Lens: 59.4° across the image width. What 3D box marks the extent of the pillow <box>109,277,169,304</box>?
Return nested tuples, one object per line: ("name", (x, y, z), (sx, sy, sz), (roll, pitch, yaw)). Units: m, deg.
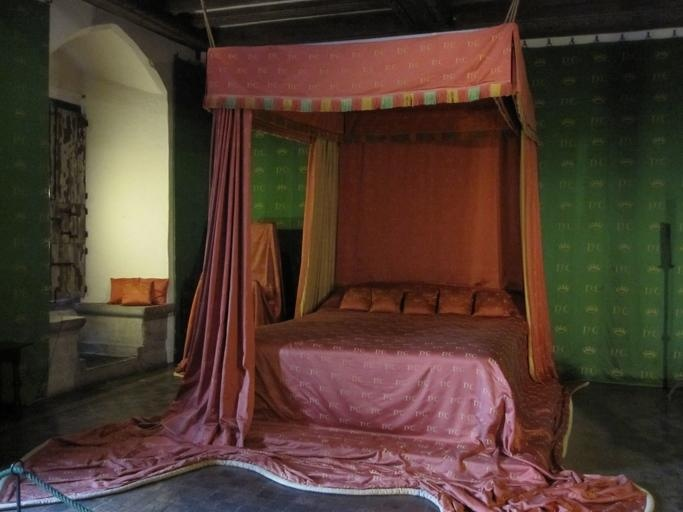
("pillow", (-2.568, 0.414, 7.544), (0.539, 0.374, 0.205), (0, -19, 7))
